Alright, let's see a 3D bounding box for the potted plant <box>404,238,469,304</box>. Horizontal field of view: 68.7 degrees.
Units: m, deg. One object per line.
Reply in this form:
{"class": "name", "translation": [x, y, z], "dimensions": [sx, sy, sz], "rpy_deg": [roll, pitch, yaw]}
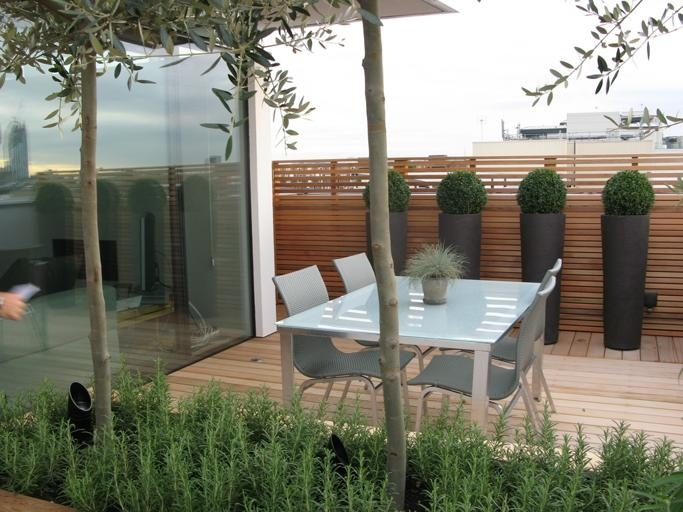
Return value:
{"class": "potted plant", "translation": [0.715, 0.112, 3.710], "dimensions": [0.510, 0.444, 0.484], "rpy_deg": [0, -2, -14]}

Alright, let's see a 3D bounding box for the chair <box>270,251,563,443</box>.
{"class": "chair", "translation": [0.393, 0.507, 3.581], "dimensions": [1.555, 0.896, 1.836], "rpy_deg": [-2, 11, 8]}
